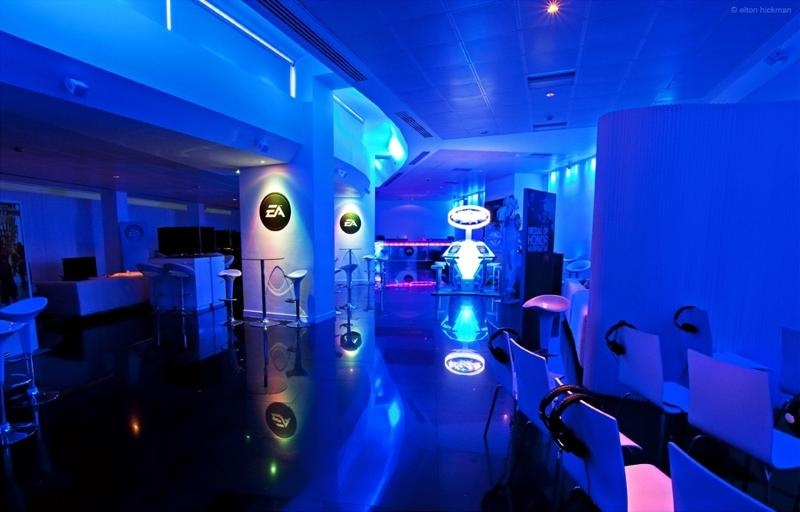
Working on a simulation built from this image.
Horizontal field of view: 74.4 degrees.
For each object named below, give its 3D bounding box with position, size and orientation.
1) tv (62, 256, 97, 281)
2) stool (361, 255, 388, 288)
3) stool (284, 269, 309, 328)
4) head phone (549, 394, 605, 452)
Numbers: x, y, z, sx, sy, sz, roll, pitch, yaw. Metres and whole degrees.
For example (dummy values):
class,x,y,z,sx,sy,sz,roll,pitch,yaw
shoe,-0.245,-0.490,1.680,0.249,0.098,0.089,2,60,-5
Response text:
class,x,y,z,sx,sy,sz,roll,pitch,yaw
tv,-6.799,0.280,11.009,0.489,0.584,0.878,-3,-1,8
stool,-0.782,0.404,15.249,0.879,0.831,0.845,0,0,13
stool,-1.900,0.765,9.803,0.398,1.025,0.621,-3,9,-12
head phone,1.702,1.770,5.406,0.467,0.587,0.209,-42,6,-33
